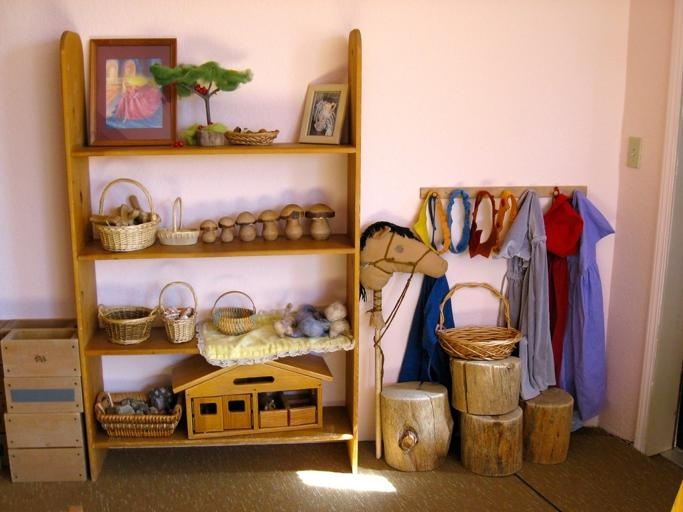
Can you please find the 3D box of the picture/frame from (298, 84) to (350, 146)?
[{"bbox_3d":[-0.088,-0.772,3.240,0.314,0.383,0.026,11,0,38],"label":"picture/frame"}]

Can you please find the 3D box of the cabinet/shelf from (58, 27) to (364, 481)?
[{"bbox_3d":[-0.661,0.030,3.260,1.494,2.429,0.418,-2,10,-6],"label":"cabinet/shelf"}]

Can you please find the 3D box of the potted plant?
[{"bbox_3d":[-0.727,-0.848,3.178,0.367,0.254,0.278,-11,6,-25],"label":"potted plant"}]

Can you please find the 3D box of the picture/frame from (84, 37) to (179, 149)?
[{"bbox_3d":[-1.103,-0.874,3.175,0.611,0.756,0.055,0,0,0],"label":"picture/frame"}]
